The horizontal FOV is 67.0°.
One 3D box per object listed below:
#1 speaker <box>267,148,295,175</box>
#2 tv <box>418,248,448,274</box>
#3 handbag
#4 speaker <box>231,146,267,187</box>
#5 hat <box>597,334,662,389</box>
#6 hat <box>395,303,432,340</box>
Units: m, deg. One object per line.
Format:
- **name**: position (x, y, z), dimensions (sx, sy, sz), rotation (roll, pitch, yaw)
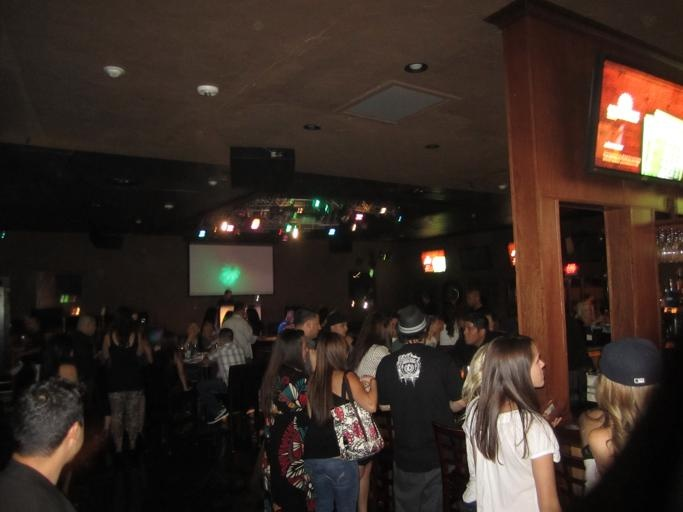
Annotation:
- **speaker**: position (-0.685, -1.073, 5.785), dimensions (0.268, 0.292, 0.282), rotation (0, -6, -5)
- **tv**: position (2.684, 0.135, 14.673), dimensions (0.482, 0.705, 0.935), rotation (0, -2, -7)
- **handbag**: position (0.129, 1.214, 3.760), dimensions (0.369, 0.549, 0.216), rotation (10, -20, -43)
- **speaker**: position (-1.038, -1.013, 5.813), dimensions (0.404, 0.415, 0.235), rotation (0, -3, -9)
- **hat**: position (1.495, 0.507, 2.672), dimensions (0.308, 0.192, 0.454), rotation (-6, 2, 23)
- **hat**: position (0.528, 0.465, 3.810), dimensions (0.320, 0.131, 0.260), rotation (-20, 14, -37)
